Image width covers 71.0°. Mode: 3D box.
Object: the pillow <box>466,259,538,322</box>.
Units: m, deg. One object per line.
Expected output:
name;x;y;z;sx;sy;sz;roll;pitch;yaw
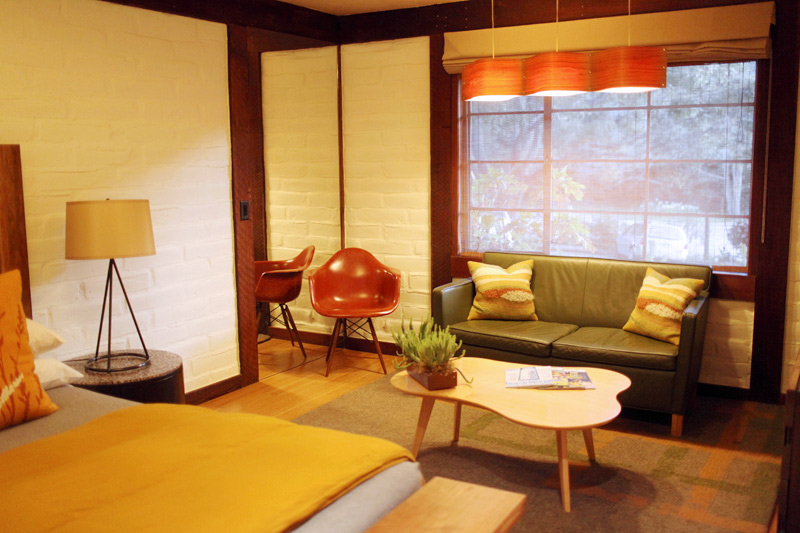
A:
pillow;0.781;0.235;4.903;0.902;0.639;0.457;0;3;2

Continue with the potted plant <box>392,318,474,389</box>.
potted plant;0.191;0.539;3.566;0.456;0.383;0.570;-2;5;-22

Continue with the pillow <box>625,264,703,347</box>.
pillow;1.943;0.287;4.142;0.166;0.492;0.519;26;-2;-30

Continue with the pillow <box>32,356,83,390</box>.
pillow;-1.906;0.587;3.127;0.200;0.054;0.189;7;5;36

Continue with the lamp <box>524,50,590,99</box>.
lamp;1.047;-1.293;3.729;0.332;0.262;0.297;-7;14;-26

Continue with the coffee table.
coffee table;0.847;0.738;3.389;1.256;0.429;0.867;5;12;31

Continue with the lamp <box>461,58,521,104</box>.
lamp;0.626;-1.294;3.877;0.347;0.261;0.303;-4;13;-14
